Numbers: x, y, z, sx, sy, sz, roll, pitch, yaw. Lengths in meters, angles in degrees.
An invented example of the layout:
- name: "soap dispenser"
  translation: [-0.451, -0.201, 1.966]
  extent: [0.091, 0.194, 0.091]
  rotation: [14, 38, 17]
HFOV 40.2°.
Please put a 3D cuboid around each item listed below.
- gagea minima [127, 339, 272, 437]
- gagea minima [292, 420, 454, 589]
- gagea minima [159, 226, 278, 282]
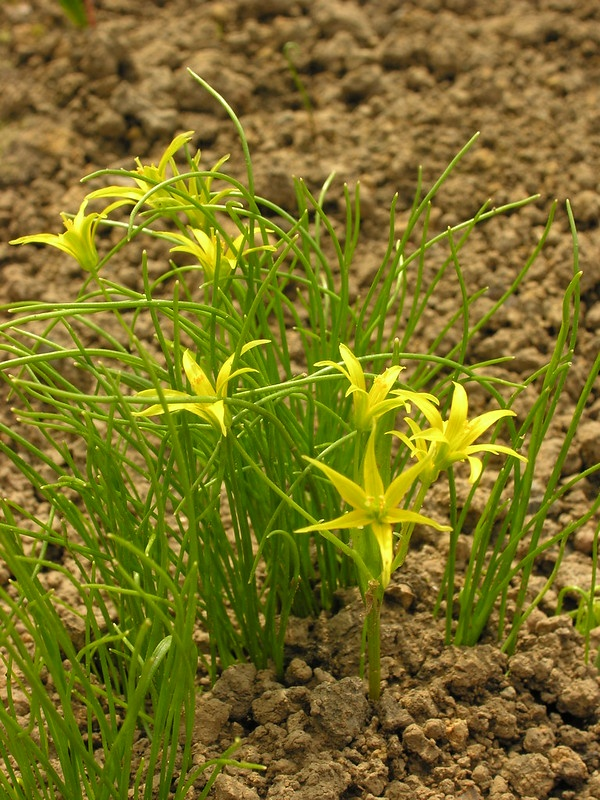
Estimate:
- name: "gagea minima"
  translation: [-0.118, 0.009, 1.087]
  extent: [0.161, 0.067, 0.154]
  rotation: [-21, 37, 5]
- name: "gagea minima"
  translation: [0.088, 0.143, 1.036]
  extent: [0.149, 0.180, 0.159]
  rotation: [2, 43, 1]
- name: "gagea minima"
  translation: [-0.134, -0.225, 1.301]
  extent: [0.162, 0.080, 0.146]
  rotation: [-2, 1, -6]
